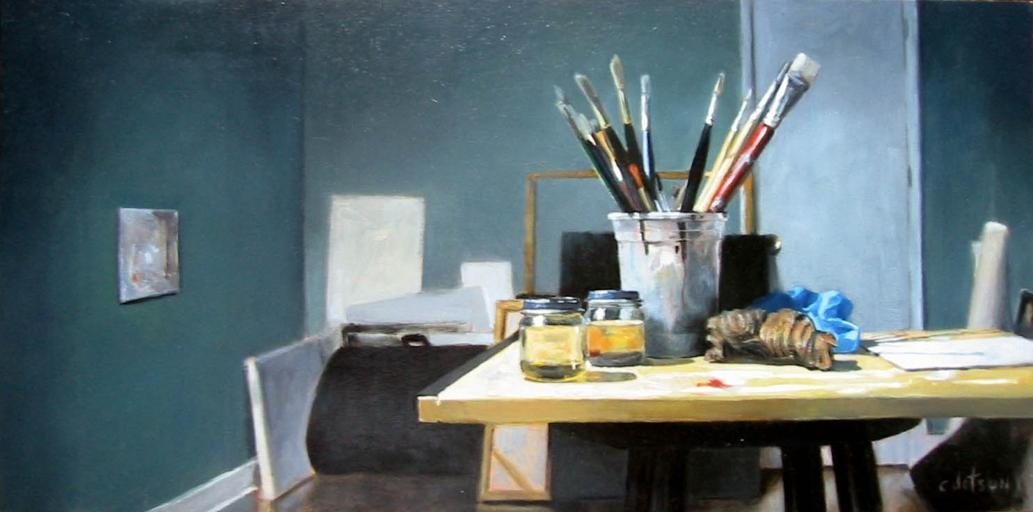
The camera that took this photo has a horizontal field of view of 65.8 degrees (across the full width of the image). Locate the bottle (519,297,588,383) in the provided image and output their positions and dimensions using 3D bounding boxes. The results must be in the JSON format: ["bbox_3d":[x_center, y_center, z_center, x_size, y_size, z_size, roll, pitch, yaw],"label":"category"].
[{"bbox_3d":[0.067,0.148,1.431,0.140,0.118,0.135,1,-3,-45],"label":"bottle"}]

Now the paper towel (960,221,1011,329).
[{"bbox_3d":[0.963,0.060,1.631,0.090,0.225,0.078,0,11,11],"label":"paper towel"}]

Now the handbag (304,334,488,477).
[{"bbox_3d":[-0.274,0.299,1.622,0.376,0.258,0.074,0,-14,4],"label":"handbag"}]

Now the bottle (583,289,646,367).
[{"bbox_3d":[0.168,0.132,1.477,0.137,0.117,0.124,0,-4,14],"label":"bottle"}]

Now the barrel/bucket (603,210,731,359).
[{"bbox_3d":[0.356,0.054,1.519,0.270,0.241,0.232,-1,-5,22],"label":"barrel/bucket"}]
